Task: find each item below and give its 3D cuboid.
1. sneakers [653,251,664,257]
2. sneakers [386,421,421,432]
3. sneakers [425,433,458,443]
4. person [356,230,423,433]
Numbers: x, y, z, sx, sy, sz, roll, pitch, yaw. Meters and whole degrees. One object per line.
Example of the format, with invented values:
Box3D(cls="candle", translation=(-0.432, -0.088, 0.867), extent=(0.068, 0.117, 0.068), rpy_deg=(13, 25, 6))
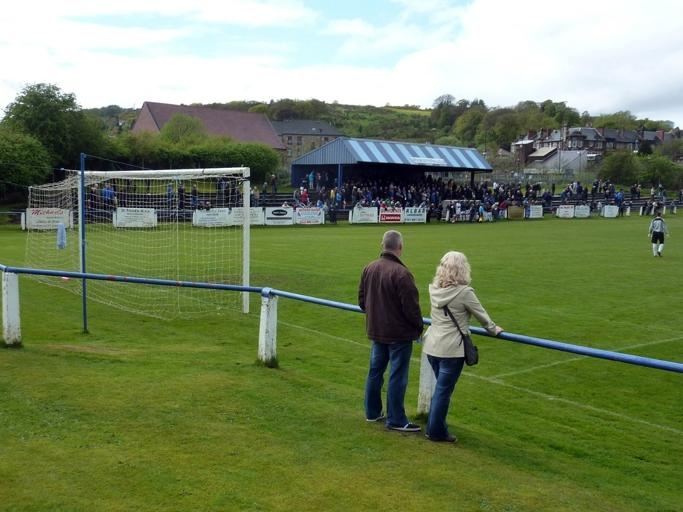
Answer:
Box3D(cls="sneakers", translation=(10.356, -0.074, 28.613), extent=(0.202, 0.159, 0.473), rpy_deg=(-6, 4, -8))
Box3D(cls="sneakers", translation=(0.840, 2.243, 11.640), extent=(0.433, 0.160, 0.160), rpy_deg=(-1, 0, 1))
Box3D(cls="sneakers", translation=(1.323, 2.395, 11.435), extent=(0.345, 0.146, 0.136), rpy_deg=(-3, 4, 0))
Box3D(cls="person", translation=(0.666, 0.983, 11.740), extent=(0.587, 2.609, 0.998), rpy_deg=(-6, 13, -40))
